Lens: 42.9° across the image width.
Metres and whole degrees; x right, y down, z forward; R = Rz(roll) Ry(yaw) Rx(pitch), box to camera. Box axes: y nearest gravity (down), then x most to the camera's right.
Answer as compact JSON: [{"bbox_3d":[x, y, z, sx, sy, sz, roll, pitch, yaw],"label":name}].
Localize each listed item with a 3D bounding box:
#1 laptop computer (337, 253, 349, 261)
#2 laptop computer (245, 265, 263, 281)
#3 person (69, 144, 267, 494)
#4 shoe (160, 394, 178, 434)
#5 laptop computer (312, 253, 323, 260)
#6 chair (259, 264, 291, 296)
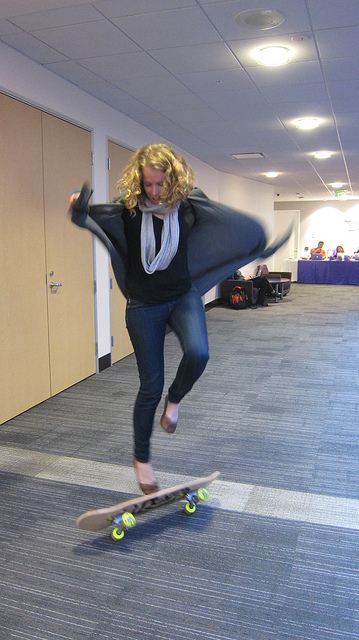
[{"bbox_3d":[5.837,-2.268,16.440,0.379,0.146,0.291,-14,37,-42],"label":"laptop computer"},{"bbox_3d":[2.092,-1.278,12.066,0.728,0.308,0.220,-16,5,-37],"label":"laptop computer"},{"bbox_3d":[-0.057,0.037,1.988,0.400,1.473,1.017,2,5,33],"label":"person"},{"bbox_3d":[-0.054,0.463,2.168,0.064,0.213,0.074,-1,10,1],"label":"shoe"},{"bbox_3d":[4.984,-2.331,16.562,0.307,0.240,0.227,3,-22,4],"label":"laptop computer"},{"bbox_3d":[2.694,-1.050,12.730,0.973,1.106,0.907,3,9,25],"label":"chair"}]
